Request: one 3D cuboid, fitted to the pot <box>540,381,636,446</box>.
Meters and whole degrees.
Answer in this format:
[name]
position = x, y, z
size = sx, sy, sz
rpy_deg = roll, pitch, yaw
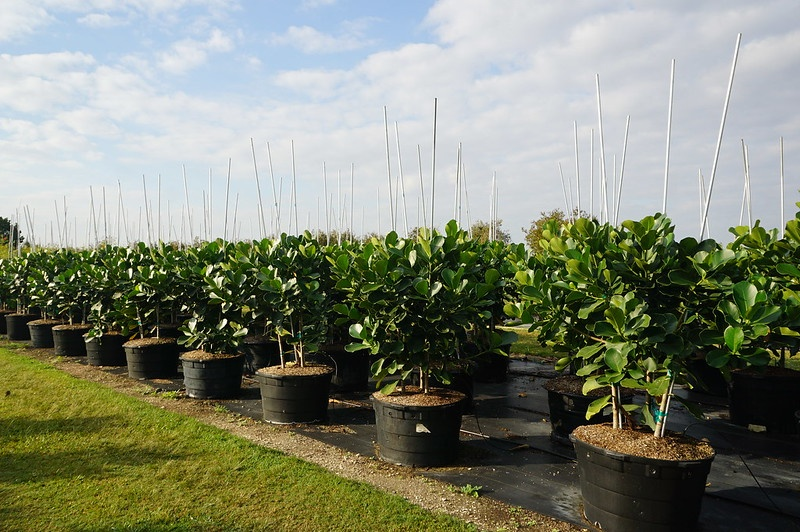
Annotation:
[pot]
position = 2.485, 1.917, 7.997
size = 0.947, 0.600, 0.966
rpy_deg = -1, 3, 0
